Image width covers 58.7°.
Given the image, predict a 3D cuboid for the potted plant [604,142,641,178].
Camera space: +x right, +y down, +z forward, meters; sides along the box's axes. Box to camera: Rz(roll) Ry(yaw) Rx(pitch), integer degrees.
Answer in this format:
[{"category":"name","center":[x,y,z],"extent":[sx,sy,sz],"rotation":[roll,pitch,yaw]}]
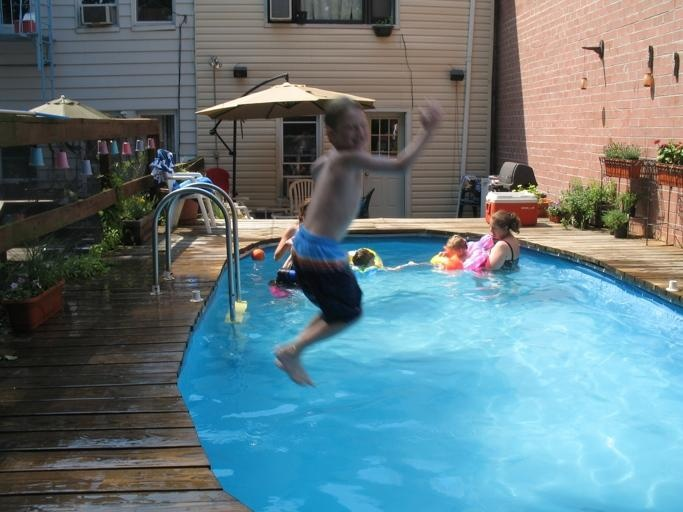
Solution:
[{"category":"potted plant","center":[4.136,-1.447,8.905],"extent":[0.306,0.524,0.600],"rotation":[-2,6,0]}]

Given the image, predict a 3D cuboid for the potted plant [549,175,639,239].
[{"category":"potted plant","center":[4.046,-0.812,9.622],"extent":[0.614,0.831,1.871],"rotation":[-2,15,-6]}]

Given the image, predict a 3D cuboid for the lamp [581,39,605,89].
[{"category":"lamp","center":[4.137,-3.287,10.029],"extent":[0.289,0.701,0.646],"rotation":[1,14,3]}]

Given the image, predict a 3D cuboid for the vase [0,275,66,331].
[{"category":"vase","center":[-2.618,0.434,5.209],"extent":[0.257,0.306,0.630],"rotation":[4,15,13]}]

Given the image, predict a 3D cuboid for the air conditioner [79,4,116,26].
[{"category":"air conditioner","center":[-5.201,-5.230,12.841],"extent":[0.751,0.470,0.240],"rotation":[1,14,3]}]

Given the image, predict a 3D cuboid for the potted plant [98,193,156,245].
[{"category":"potted plant","center":[-3.024,-0.510,8.475],"extent":[0.495,0.654,1.191],"rotation":[1,15,4]}]

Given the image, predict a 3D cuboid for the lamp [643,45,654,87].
[{"category":"lamp","center":[4.369,-2.753,8.573],"extent":[0.128,0.590,0.328],"rotation":[7,16,25]}]

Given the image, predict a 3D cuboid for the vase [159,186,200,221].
[{"category":"vase","center":[-2.614,-0.805,9.931],"extent":[0.543,0.582,1.590],"rotation":[-3,15,-13]}]

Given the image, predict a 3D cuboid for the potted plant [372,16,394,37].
[{"category":"potted plant","center":[0.882,-5.131,13.151],"extent":[0.417,0.301,0.486],"rotation":[-1,-1,-5]}]

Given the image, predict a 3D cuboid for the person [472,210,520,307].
[{"category":"person","center":[2.013,-0.181,7.735],"extent":[0.448,0.806,0.502],"rotation":[6,15,21]}]

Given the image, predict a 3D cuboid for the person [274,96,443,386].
[{"category":"person","center":[0.045,0.032,3.893],"extent":[0.949,2.073,0.405],"rotation":[4,15,17]}]

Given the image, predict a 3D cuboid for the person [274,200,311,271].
[{"category":"person","center":[-0.595,-0.224,6.792],"extent":[0.251,0.891,0.530],"rotation":[18,15,-16]}]
